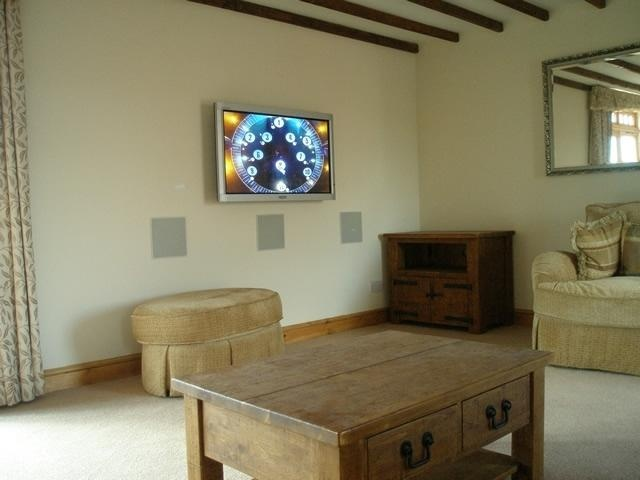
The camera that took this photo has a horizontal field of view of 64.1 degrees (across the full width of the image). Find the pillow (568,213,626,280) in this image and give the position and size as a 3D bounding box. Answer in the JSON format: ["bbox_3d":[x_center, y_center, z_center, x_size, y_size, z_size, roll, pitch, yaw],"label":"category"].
[{"bbox_3d":[2.191,0.066,4.015,0.441,0.502,0.188,-5,-5,5],"label":"pillow"}]

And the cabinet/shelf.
[{"bbox_3d":[1.329,0.389,5.297,0.699,0.922,1.100,0,-1,-42],"label":"cabinet/shelf"}]

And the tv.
[{"bbox_3d":[-0.430,-0.756,4.449,0.946,0.675,0.087,0,-1,-37],"label":"tv"}]

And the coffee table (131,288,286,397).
[{"bbox_3d":[-0.917,0.503,3.620,0.956,0.524,0.650,-5,6,-42],"label":"coffee table"}]
